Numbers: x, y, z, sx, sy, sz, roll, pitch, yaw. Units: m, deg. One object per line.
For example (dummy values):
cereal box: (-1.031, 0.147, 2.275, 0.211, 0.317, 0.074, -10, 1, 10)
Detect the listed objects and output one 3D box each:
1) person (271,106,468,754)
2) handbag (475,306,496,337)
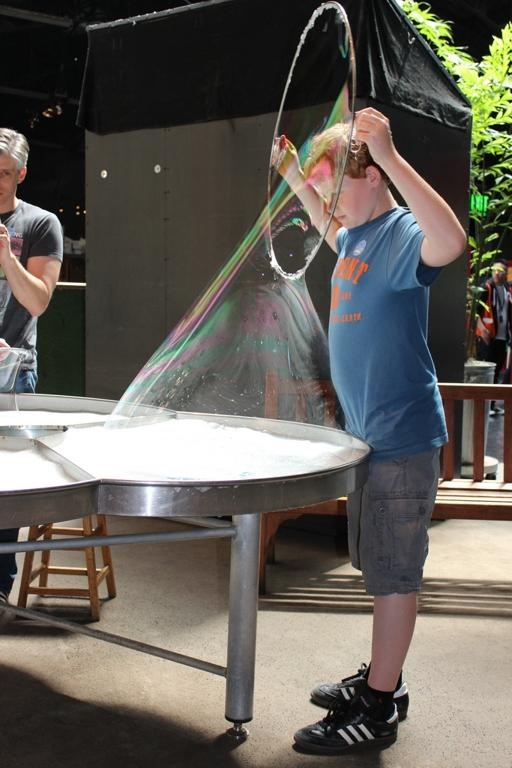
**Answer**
person: (0.202, 0.156, 1.417, 0.364, 1.251, 0.647, 1, 1, 11)
handbag: (2.549, -0.646, 7.891, 0.182, 0.301, 0.384, 1, 1, 21)
